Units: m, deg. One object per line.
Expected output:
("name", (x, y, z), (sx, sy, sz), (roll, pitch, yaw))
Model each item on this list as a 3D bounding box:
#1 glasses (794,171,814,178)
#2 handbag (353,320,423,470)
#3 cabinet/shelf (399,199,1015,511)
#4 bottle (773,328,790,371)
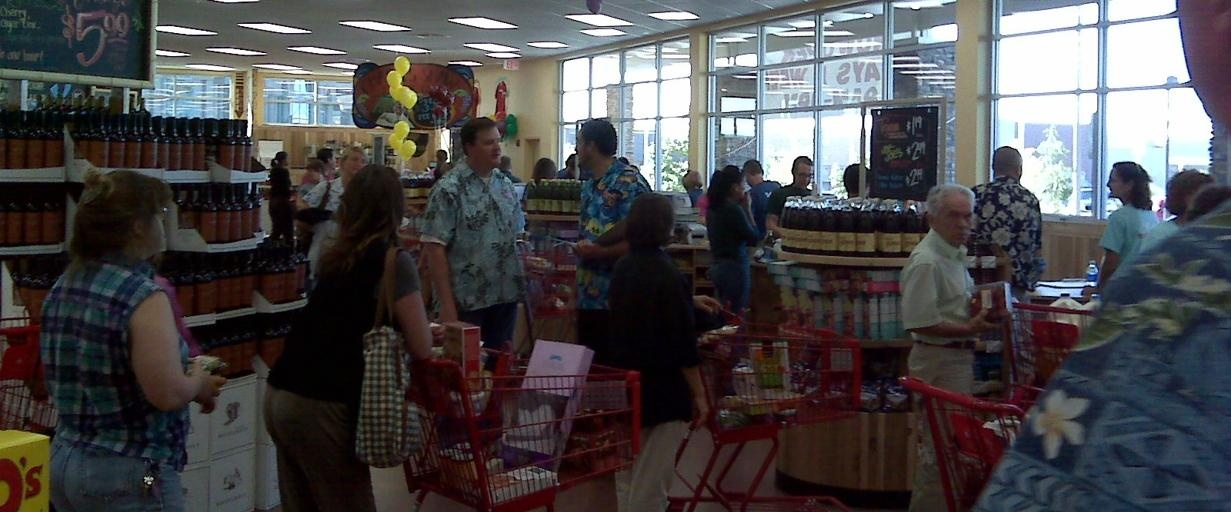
("glasses", (2.492, -1.099, 11.154), (0.192, 0.046, 0.178), (1, 1, -22))
("handbag", (-1.741, 1.039, 6.194), (0.459, 1.038, 0.251), (0, 10, -10))
("cabinet/shelf", (0.781, 0.807, 7.801), (4.871, 2.464, 2.921), (3, -5, -21))
("bottle", (1.410, 0.844, 7.189), (0.153, 0.251, 0.125), (1, 10, -7))
